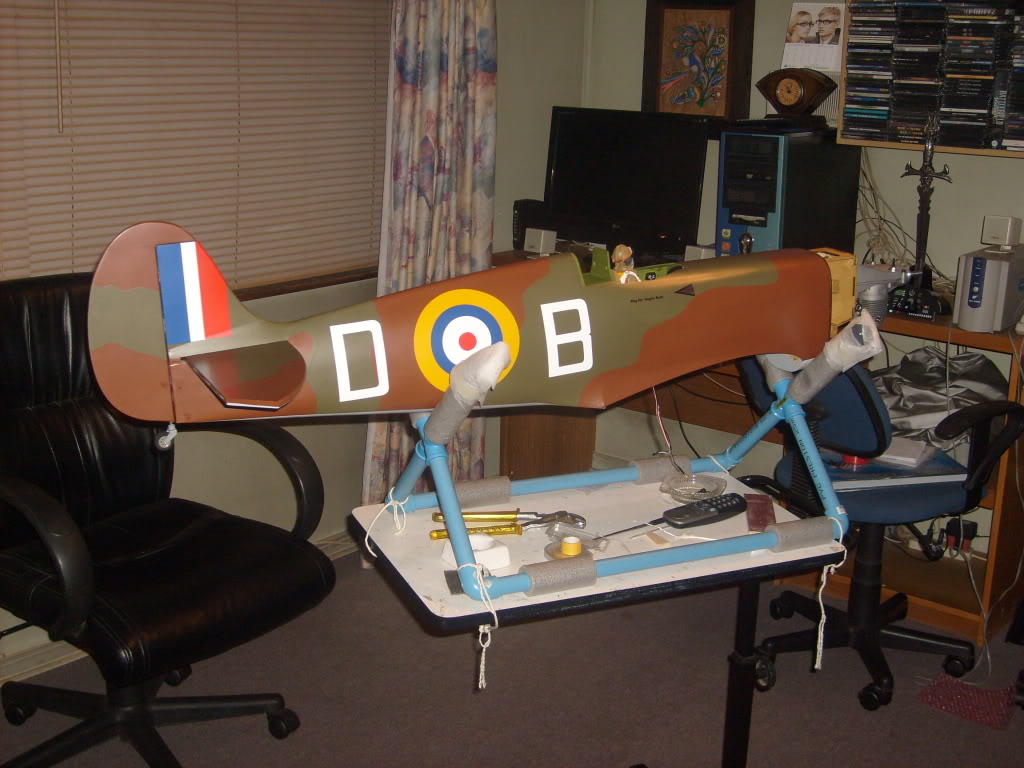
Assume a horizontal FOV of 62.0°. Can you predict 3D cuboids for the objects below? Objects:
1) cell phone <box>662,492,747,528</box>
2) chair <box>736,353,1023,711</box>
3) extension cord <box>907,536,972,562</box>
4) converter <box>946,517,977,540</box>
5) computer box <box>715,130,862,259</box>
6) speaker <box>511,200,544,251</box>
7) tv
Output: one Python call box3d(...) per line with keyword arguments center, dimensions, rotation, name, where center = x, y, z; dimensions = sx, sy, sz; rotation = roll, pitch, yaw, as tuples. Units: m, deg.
box3d(center=(0.464, 0.273, 2.061), dimensions=(0.178, 0.033, 0.084), rotation=(-15, 27, -20), name="cell phone")
box3d(center=(0.981, 0.326, 3.278), dimensions=(1.043, 1.598, 1.034), rotation=(-7, 19, -17), name="chair")
box3d(center=(1.657, 0.674, 3.338), dimensions=(0.177, 0.048, 0.171), rotation=(7, 20, 41), name="extension cord")
box3d(center=(1.713, 0.545, 3.255), dimensions=(0.093, 0.066, 0.097), rotation=(0, 9, -12), name="converter")
box3d(center=(1.084, -0.735, 3.383), dimensions=(0.539, 0.588, 0.424), rotation=(21, 26, 40), name="computer box")
box3d(center=(0.063, -0.716, 3.809), dimensions=(0.179, 0.297, 0.161), rotation=(1, 3, 6), name="speaker")
box3d(center=(0.471, -0.846, 3.501), dimensions=(0.916, 0.627, 0.206), rotation=(23, 28, 40), name="tv")
